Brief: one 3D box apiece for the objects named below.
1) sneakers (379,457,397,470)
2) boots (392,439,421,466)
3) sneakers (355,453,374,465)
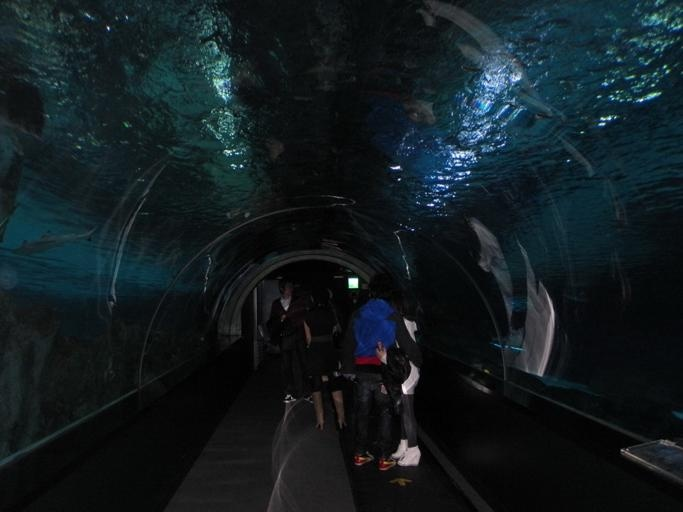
[{"bbox_3d":[0.666,3.040,5.930,0.299,0.123,0.129,4,-5,-39],"label":"sneakers"},{"bbox_3d":[0.957,2.971,6.019,0.368,0.272,0.444,2,-17,-5],"label":"boots"},{"bbox_3d":[0.321,3.067,6.106,0.321,0.134,0.135,5,-6,-35],"label":"sneakers"}]
